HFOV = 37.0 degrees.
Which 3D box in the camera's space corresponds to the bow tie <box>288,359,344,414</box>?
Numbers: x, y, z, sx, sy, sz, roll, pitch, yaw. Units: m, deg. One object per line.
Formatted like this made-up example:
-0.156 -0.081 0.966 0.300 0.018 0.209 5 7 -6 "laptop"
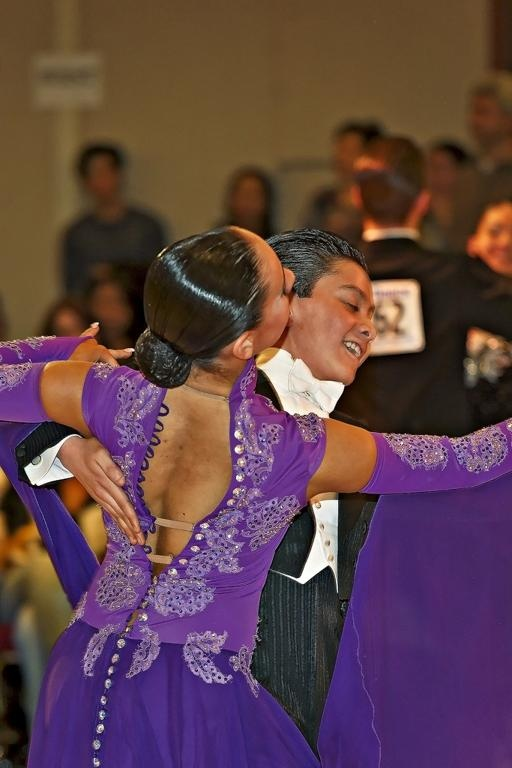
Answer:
0.106 0.011 1.446 0.114 0.104 0.052 32 -8 -4 "bow tie"
